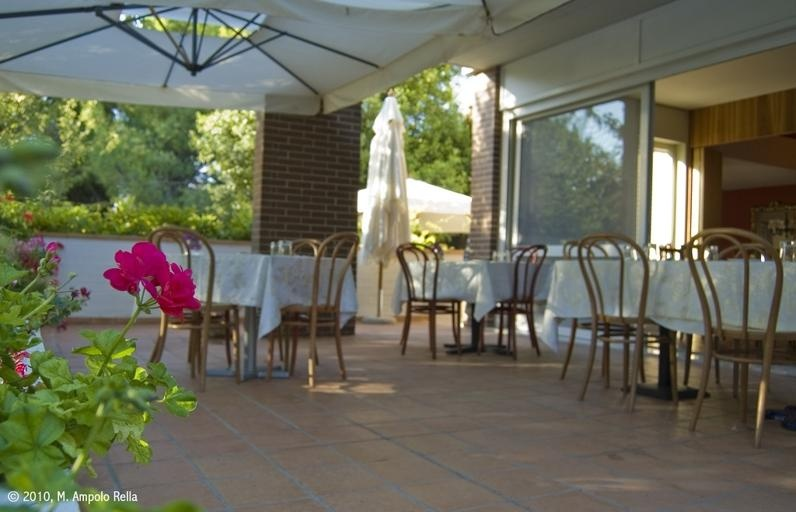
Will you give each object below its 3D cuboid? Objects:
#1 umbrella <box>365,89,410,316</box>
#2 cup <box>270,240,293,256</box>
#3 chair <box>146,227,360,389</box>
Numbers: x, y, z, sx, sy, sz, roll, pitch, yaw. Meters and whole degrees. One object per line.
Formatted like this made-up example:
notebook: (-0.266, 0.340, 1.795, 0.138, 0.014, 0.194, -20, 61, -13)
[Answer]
umbrella: (-0.125, -1.013, 8.121, 0.656, 2.478, 0.432, 3, 1, -2)
cup: (-1.027, -0.068, 5.438, 0.241, 0.151, 0.240, 0, -4, 0)
chair: (-1.312, 0.399, 5.586, 1.653, 1.112, 1.893, 4, -1, -19)
